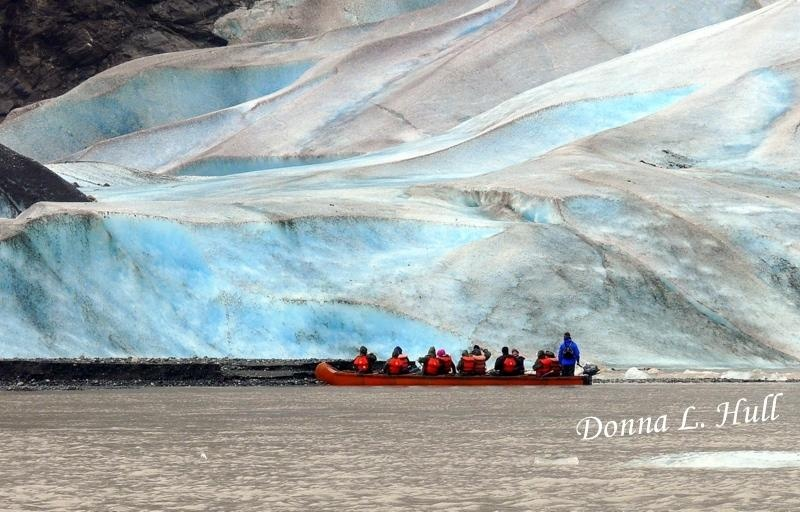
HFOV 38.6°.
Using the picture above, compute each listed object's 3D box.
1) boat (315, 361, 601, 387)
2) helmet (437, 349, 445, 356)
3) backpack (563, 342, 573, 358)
[{"bbox_3d":[2.390,5.082,48.887,10.812,0.866,1.551,0,-3,5],"label":"boat"},{"bbox_3d":[1.795,4.169,49.150,0.365,0.152,0.278,-5,4,-12],"label":"helmet"},{"bbox_3d":[7.245,4.090,49.108,0.603,0.497,0.611,1,20,17],"label":"backpack"}]
